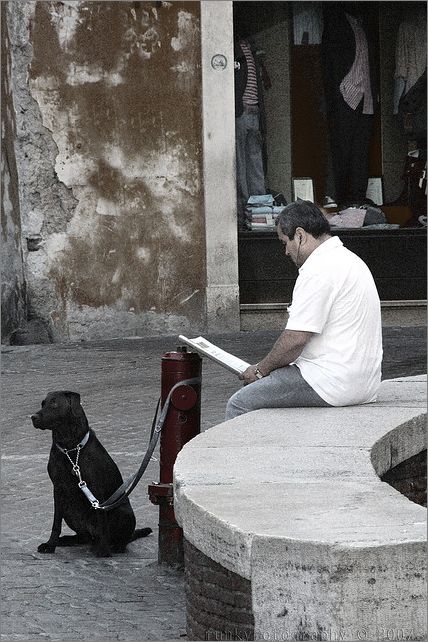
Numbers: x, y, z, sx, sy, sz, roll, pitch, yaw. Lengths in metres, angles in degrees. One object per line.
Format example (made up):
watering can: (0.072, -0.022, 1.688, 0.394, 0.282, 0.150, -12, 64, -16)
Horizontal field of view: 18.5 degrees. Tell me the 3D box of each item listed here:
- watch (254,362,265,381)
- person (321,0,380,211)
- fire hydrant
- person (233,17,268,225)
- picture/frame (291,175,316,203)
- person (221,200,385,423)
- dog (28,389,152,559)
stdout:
watch: (0.202, 0.223, 5.930, 0.024, 0.062, 0.043, -8, 7, -3)
person: (1.575, -2.585, 15.561, 0.593, 2.255, 0.439, -1, 9, 1)
fire hydrant: (-0.171, 0.585, 5.646, 0.231, 0.894, 0.479, -1, 9, -1)
person: (0.392, -2.109, 14.595, 0.336, 2.059, 0.839, 0, 9, 2)
picture/frame: (1.074, -1.583, 15.837, 0.268, 0.276, 0.172, -1, 9, -2)
person: (0.415, -0.049, 5.879, 0.657, 0.933, 0.413, 0, 9, 6)
dog: (-0.539, 0.672, 5.897, 0.582, 0.740, 0.401, -3, 1, -39)
